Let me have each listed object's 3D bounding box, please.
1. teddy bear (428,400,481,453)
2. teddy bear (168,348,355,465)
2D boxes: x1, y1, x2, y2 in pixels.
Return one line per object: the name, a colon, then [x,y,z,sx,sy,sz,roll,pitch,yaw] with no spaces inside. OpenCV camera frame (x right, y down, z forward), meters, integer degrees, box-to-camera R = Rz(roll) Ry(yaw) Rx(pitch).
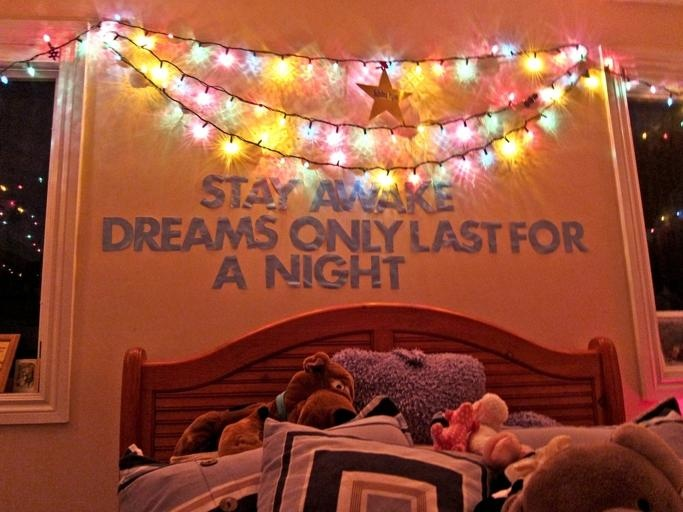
teddy bear: [0.381,0.562,1.925,0.146,0.156,0.054,27,-5,18]
teddy bear: [-0.311,0.575,2.267,0.635,0.340,0.345,-17,-32,-18]
